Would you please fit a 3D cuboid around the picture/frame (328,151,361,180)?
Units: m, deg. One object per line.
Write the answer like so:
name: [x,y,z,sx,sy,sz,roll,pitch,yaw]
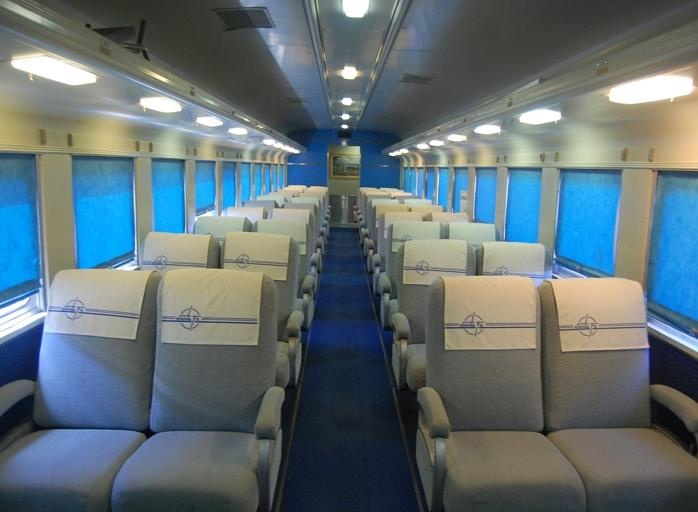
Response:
picture/frame: [-0.188,-3.162,17.580,0.952,0.740,0.069,1,3,-7]
